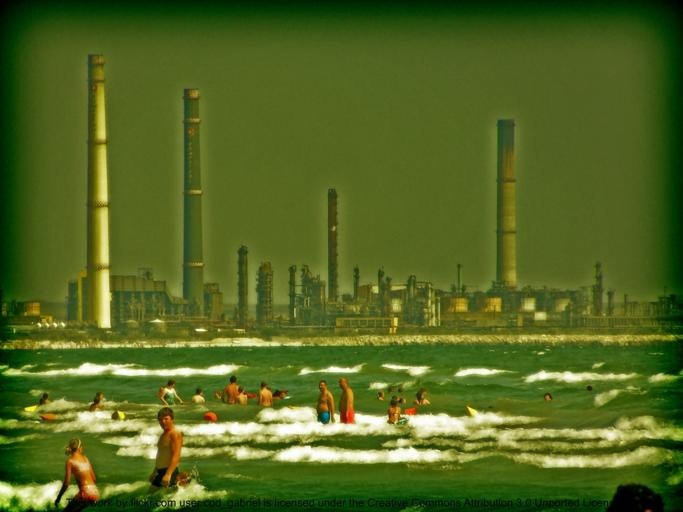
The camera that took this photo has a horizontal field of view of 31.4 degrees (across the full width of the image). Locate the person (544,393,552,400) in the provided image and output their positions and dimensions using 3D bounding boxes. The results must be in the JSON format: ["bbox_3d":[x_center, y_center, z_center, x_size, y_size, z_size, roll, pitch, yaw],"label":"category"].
[{"bbox_3d":[10.297,6.959,60.495,0.274,0.366,0.897,-1,-1,10],"label":"person"}]
